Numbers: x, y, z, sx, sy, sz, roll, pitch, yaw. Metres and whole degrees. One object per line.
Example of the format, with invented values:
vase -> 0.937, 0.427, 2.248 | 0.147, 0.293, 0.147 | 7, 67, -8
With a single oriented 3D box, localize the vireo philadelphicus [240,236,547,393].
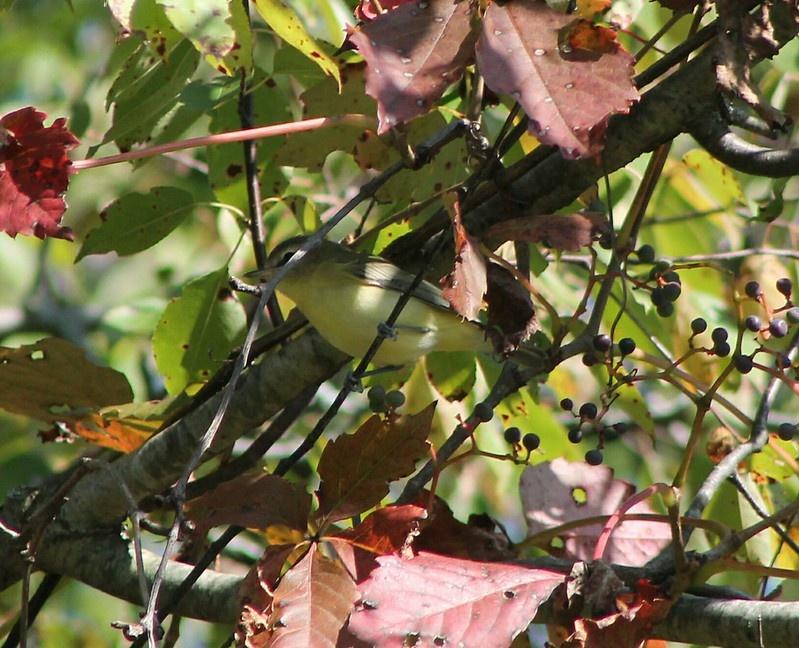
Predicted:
vireo philadelphicus -> -0.084, -0.075, 4.696 | 1.126, 0.522, 0.394 | 5, -22, 2
